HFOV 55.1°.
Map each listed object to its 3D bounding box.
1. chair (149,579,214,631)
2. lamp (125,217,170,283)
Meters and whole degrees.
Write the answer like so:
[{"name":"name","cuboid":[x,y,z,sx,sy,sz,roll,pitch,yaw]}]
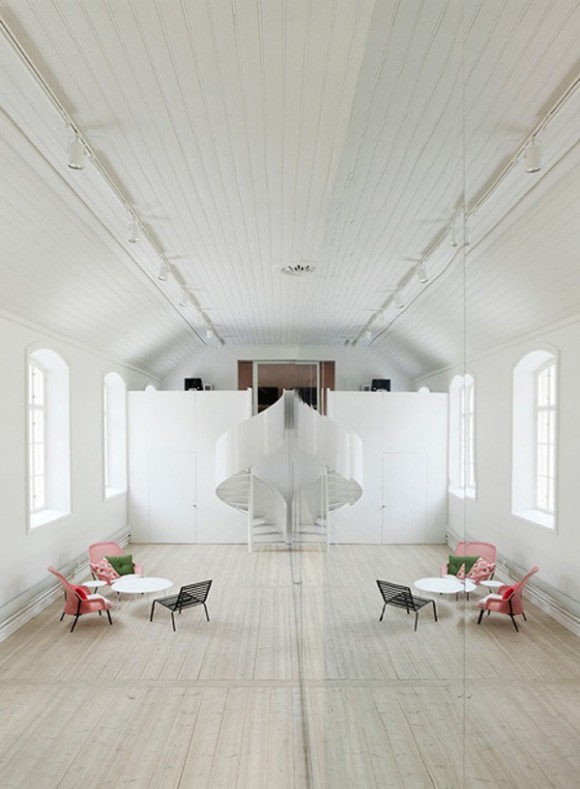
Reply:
[{"name":"chair","cuboid":[-0.759,1.450,3.900,0.284,0.317,0.364,9,-1,25]},{"name":"lamp","cuboid":[-1.082,-1.126,4.260,0.109,0.254,0.655,-2,-47,16]}]
